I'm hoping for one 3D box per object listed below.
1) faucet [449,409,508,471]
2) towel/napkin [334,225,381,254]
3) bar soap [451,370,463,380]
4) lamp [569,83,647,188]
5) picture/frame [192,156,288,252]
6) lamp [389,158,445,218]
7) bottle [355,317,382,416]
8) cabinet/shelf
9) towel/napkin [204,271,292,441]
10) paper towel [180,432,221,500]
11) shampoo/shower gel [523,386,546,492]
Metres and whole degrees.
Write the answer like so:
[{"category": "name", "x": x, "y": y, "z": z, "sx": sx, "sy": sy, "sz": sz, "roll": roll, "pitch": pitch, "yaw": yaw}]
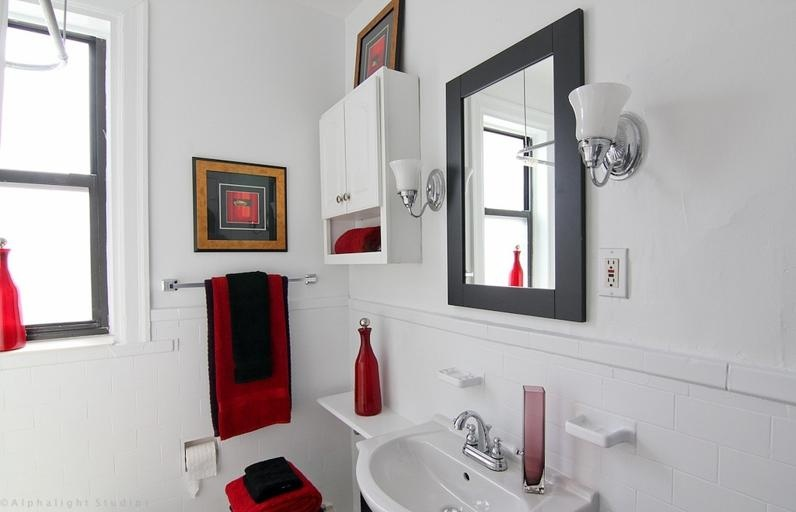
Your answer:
[{"category": "faucet", "x": 0.333, "y": 0.756, "z": 2.226, "sx": 0.212, "sy": 0.225, "sz": 0.264, "roll": 1, "pitch": 1, "yaw": -32}, {"category": "towel/napkin", "x": -0.203, "y": -0.070, "z": 2.731, "sx": 0.152, "sy": 0.100, "sz": 0.199, "roll": -19, "pitch": 5, "yaw": -34}, {"category": "bar soap", "x": 0.268, "y": 0.530, "z": 2.354, "sx": 0.035, "sy": 0.010, "sz": 0.137, "roll": -3, "pitch": 3, "yaw": 6}, {"category": "lamp", "x": 0.735, "y": -0.421, "z": 1.860, "sx": 0.218, "sy": 0.339, "sz": 0.242, "roll": -1, "pitch": 3, "yaw": 29}, {"category": "picture/frame", "x": -0.887, "y": -0.282, "z": 2.916, "sx": 0.536, "sy": 0.535, "sz": 0.041, "roll": 0, "pitch": -1, "yaw": -31}, {"category": "lamp", "x": 0.090, "y": -0.303, "z": 2.446, "sx": 0.277, "sy": 0.300, "sz": 0.210, "roll": -1, "pitch": -4, "yaw": -39}, {"category": "bottle", "x": -0.161, "y": 0.604, "z": 2.783, "sx": 0.138, "sy": 0.454, "sz": 0.068, "roll": -3, "pitch": 3, "yaw": -7}, {"category": "cabinet/shelf", "x": -0.150, "y": -0.433, "z": 2.793, "sx": 0.292, "sy": 0.938, "sz": 0.614, "roll": -5, "pitch": 4, "yaw": -36}, {"category": "towel/napkin", "x": -0.782, "y": 0.529, "z": 2.845, "sx": 0.426, "sy": 0.875, "sz": 0.145, "roll": -4, "pitch": 3, "yaw": -17}, {"category": "paper towel", "x": -1.029, "y": 1.097, "z": 2.780, "sx": 0.189, "sy": 0.274, "sz": 0.089, "roll": 2, "pitch": -9, "yaw": -25}, {"category": "shampoo/shower gel", "x": 0.514, "y": 0.699, "z": 2.027, "sx": 0.087, "sy": 0.407, "sz": 0.040, "roll": -2, "pitch": 3, "yaw": 12}]
